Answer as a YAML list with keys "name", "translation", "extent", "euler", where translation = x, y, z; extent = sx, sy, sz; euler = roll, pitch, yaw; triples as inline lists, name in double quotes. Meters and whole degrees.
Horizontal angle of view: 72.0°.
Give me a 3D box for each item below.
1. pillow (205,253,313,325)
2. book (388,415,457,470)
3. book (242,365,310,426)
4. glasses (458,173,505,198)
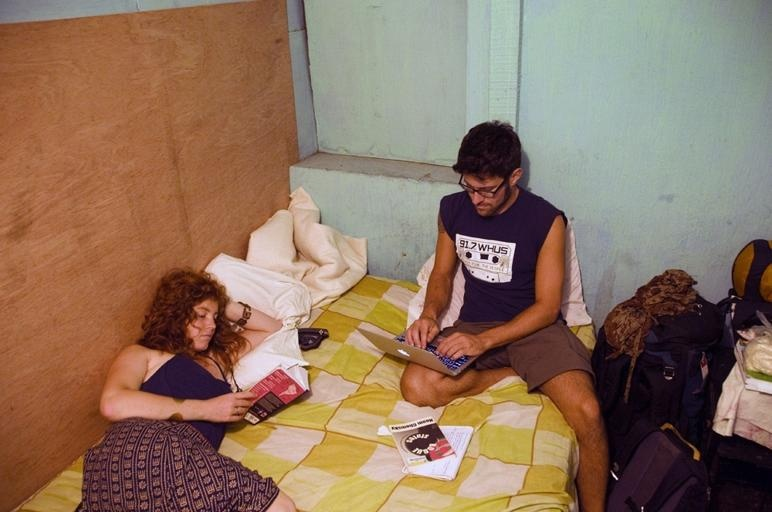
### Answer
- name: "pillow"
  translation: [-0.863, 0.268, 3.536]
  extent: [0.618, 0.186, 0.419]
  euler: [23, 25, -10]
- name: "book"
  translation: [0.182, 0.952, 2.746]
  extent: [0.267, 0.049, 0.273]
  euler: [-10, 29, -15]
- name: "book"
  translation: [-0.602, 0.741, 2.931]
  extent: [0.210, 0.119, 0.358]
  euler: [25, 51, 28]
- name: "glasses"
  translation: [0.523, -0.386, 2.938]
  extent: [0.250, 0.098, 0.102]
  euler: [10, 31, 21]
